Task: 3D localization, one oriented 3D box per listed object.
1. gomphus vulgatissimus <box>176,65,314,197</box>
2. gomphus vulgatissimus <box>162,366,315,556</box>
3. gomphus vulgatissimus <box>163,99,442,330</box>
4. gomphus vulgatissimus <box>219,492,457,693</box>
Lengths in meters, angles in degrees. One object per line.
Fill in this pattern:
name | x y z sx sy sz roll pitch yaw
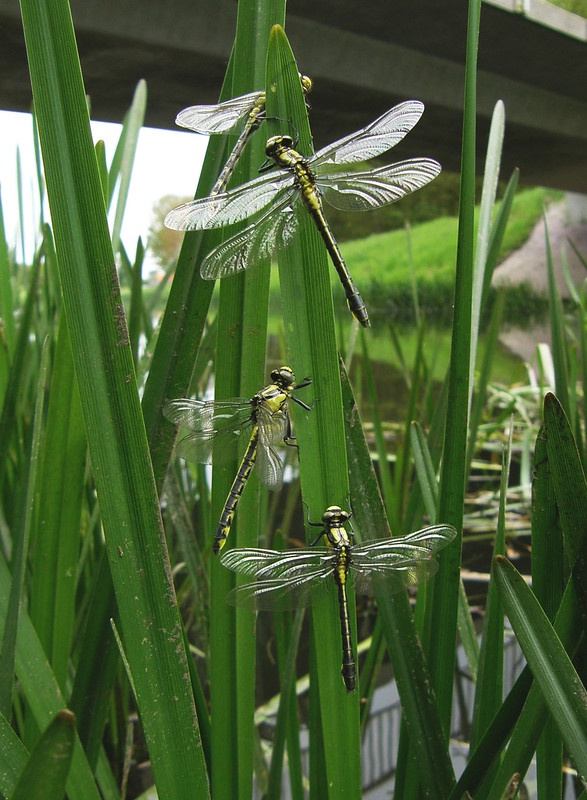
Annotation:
gomphus vulgatissimus | -0.046 -0.155 0.515 0.087 0.028 0.085 -19 21 -18
gomphus vulgatissimus | -0.031 0.036 0.588 0.092 0.144 0.061 -7 -47 24
gomphus vulgatissimus | 0.015 -0.104 0.549 0.164 0.040 0.150 -20 -46 11
gomphus vulgatissimus | 0.030 0.119 0.540 0.135 0.101 0.112 -3 -11 11
